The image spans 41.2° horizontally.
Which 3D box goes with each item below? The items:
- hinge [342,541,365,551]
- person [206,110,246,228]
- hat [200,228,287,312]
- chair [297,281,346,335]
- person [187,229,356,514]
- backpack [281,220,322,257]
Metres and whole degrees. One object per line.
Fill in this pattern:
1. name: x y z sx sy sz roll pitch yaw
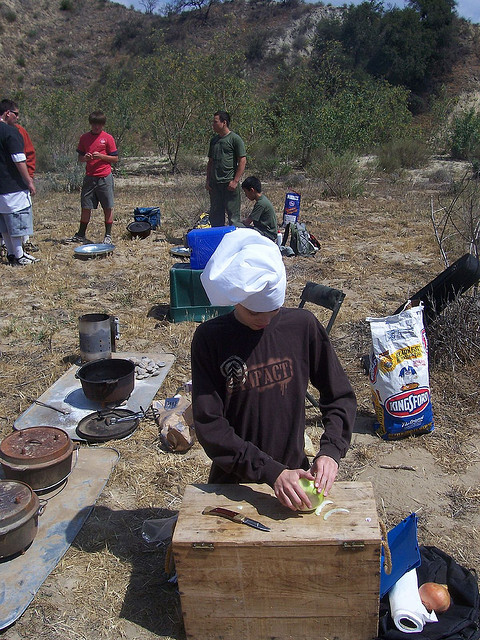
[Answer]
1. hinge: 0.409 0.813 2.293 0.079 0.042 0.012 0 11 2
2. person: -0.191 -2.006 8.574 0.386 1.477 0.622 -11 15 -42
3. hat: 0.016 -0.181 2.344 0.316 0.298 0.250 -2 11 -9
4. chair: 0.617 -0.053 5.052 0.321 0.434 0.334 23 36 33
5. person: 0.148 0.187 2.425 0.656 1.048 0.369 -2 11 -6
6. backpack: 0.998 -1.216 9.909 0.559 0.566 0.486 -2 24 17
